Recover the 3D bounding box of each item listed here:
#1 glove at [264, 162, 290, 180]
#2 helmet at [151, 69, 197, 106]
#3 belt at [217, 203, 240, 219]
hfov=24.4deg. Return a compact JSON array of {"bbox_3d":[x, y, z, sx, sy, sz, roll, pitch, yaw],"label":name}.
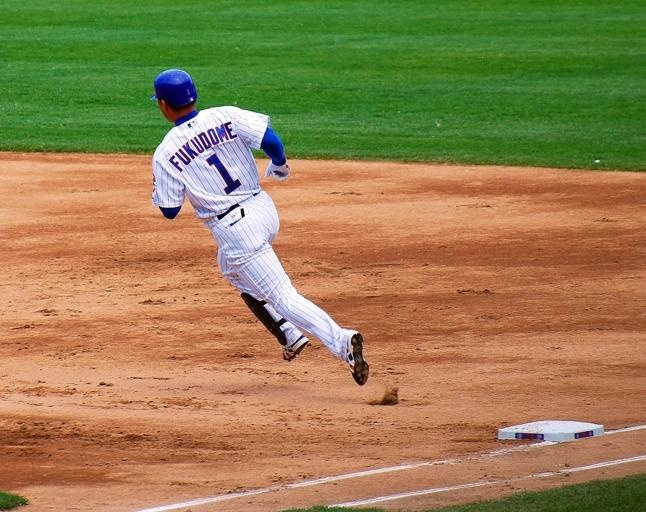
[{"bbox_3d":[-0.604,-1.102,19.041,0.325,0.228,0.134,-18,-8,-19],"label":"glove"},{"bbox_3d":[-1.906,-2.155,18.673,0.493,0.252,0.597,-18,33,-26],"label":"helmet"},{"bbox_3d":[-1.159,-0.572,18.504,0.261,0.051,0.181,-23,2,2],"label":"belt"}]
